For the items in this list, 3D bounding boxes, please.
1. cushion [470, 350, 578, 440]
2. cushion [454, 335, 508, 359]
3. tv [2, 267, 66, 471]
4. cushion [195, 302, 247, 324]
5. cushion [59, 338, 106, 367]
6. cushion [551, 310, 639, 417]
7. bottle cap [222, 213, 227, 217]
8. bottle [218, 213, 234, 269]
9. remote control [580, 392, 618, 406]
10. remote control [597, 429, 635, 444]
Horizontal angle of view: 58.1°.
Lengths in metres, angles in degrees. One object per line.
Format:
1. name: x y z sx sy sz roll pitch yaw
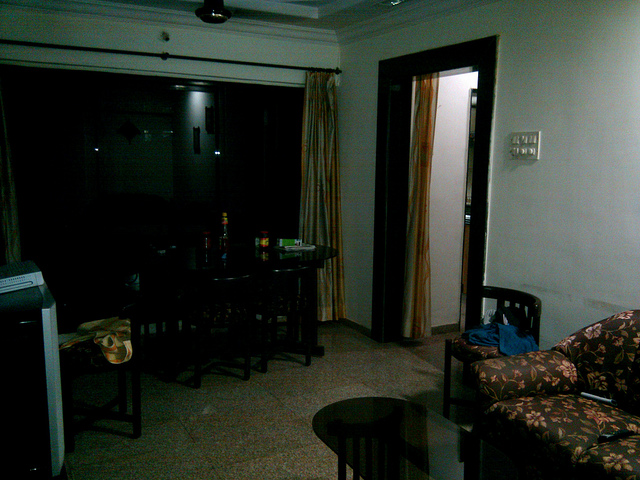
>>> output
1. cushion: 1.231 0.858 3.533 0.536 0.364 0.536 -3 5 -17
2. cushion: 1.108 0.732 3.925 0.174 0.046 0.168 -5 11 -27
3. tv: -1.443 0.719 2.883 0.278 0.841 0.306 -5 13 -18
4. cushion: -0.726 0.581 4.568 0.239 0.049 0.231 3 7 12
5. cushion: -1.494 0.701 3.621 0.185 0.054 0.175 -3 12 -37
6. cushion: 1.733 0.710 3.546 0.525 0.487 0.510 -5 8 -28
7. bottle cap: -0.846 -0.226 5.137 0.055 0.041 0.054 0 2 -18
8. bottle: -0.819 0.006 5.053 0.132 0.499 0.120 -5 3 -23
9. remote control: 1.657 0.946 3.412 0.219 0.050 0.043 10 42 33
10. remote control: 1.592 1.059 3.108 0.238 0.039 0.070 -7 3 -18
